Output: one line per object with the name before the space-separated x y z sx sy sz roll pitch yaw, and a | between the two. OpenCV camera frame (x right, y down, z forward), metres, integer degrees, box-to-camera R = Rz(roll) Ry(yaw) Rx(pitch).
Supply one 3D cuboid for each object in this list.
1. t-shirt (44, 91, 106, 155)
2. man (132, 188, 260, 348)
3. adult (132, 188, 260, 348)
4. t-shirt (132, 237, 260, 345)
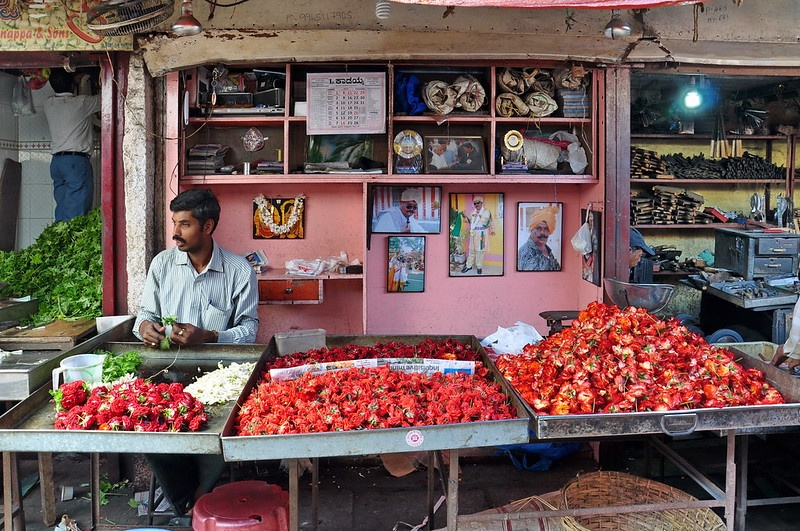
t-shirt | -3.975 -1.701 8.531 0.659 0.727 0.412 -3 7 9
man | -1.694 0.007 5.767 0.922 1.255 0.405 -1 11 6
adult | -1.694 0.007 5.767 0.922 1.255 0.405 -1 11 6
t-shirt | -1.619 0.224 5.980 1.152 0.998 0.791 4 13 -9
